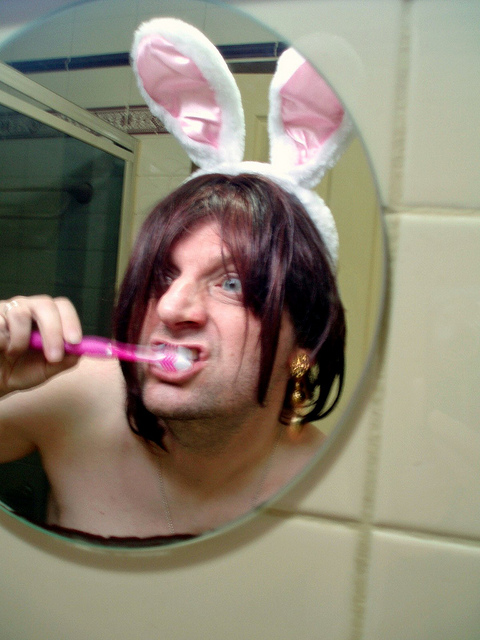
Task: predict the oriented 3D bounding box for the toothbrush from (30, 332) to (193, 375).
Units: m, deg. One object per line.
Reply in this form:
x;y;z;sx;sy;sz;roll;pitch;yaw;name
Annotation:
-0.115;0.030;0.571;0.146;0.020;0.016;10;-67;25;toothbrush

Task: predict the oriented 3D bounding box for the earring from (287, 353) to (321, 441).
0.051;0.069;0.524;0.019;0.028;0.064;10;-67;22;earring
